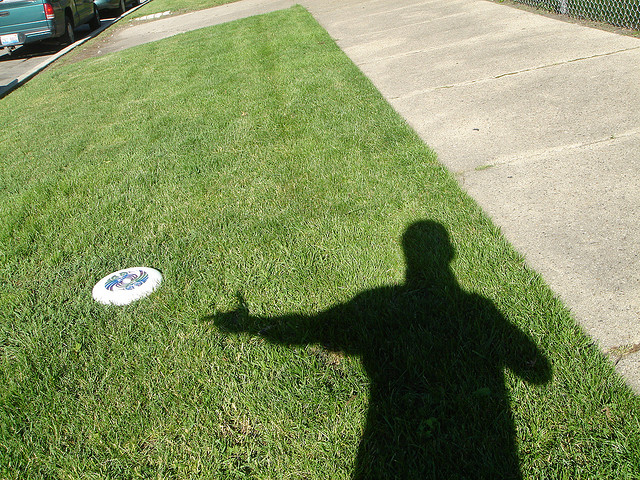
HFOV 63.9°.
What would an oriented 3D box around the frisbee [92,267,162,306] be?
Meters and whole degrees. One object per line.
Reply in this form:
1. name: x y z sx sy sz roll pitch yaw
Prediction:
1. frisbee: -1.288 0.303 3.432 0.459 0.025 0.362 -7 37 2
